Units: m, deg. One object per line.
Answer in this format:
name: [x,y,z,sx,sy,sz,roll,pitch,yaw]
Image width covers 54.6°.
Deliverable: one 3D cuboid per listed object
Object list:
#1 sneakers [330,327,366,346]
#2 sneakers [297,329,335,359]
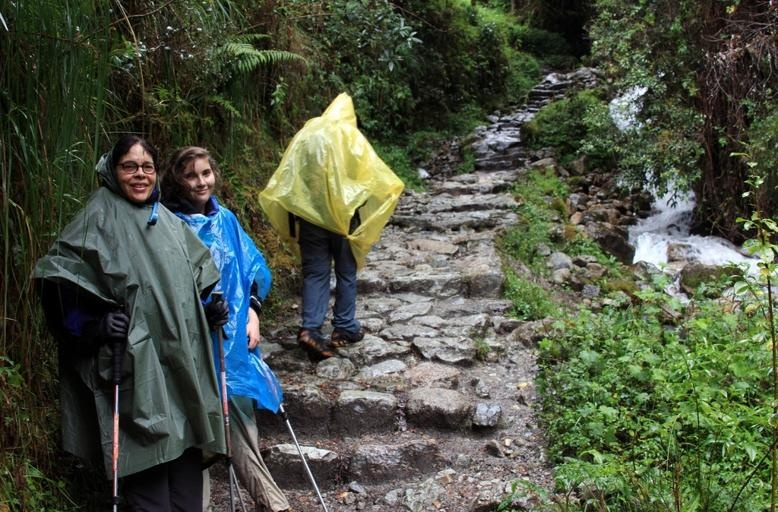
sneakers: [-0.415,0.801,7.450,0.334,0.175,0.136,-15,44,-20]
sneakers: [-0.674,0.838,7.186,0.172,0.464,0.222,-12,55,22]
